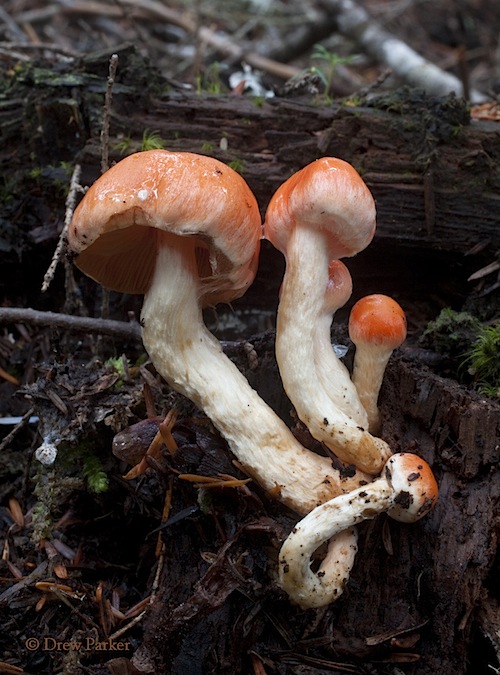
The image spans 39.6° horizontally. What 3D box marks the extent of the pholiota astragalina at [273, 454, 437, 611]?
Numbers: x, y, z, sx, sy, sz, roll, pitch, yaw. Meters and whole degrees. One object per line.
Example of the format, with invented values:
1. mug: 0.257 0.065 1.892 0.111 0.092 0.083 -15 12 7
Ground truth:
1. pholiota astragalina: 0.521 0.878 3.588 1.075 0.480 0.358 -30 43 -15
